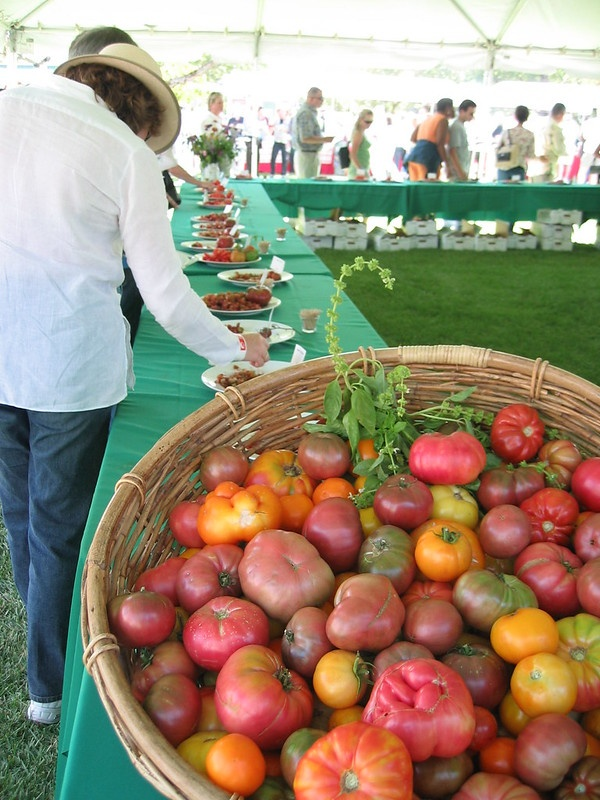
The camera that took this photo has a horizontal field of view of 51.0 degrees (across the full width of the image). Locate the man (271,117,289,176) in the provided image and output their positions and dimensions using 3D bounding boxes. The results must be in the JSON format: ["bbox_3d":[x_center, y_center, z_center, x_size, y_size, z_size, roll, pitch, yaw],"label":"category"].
[{"bbox_3d":[-0.405,-4.759,11.682,0.306,0.998,0.344,28,40,31],"label":"man"}]

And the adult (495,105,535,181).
[{"bbox_3d":[2.885,-3.420,8.454,0.484,0.934,0.485,7,25,11],"label":"adult"}]

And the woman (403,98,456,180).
[{"bbox_3d":[1.670,-3.302,8.060,0.344,0.951,0.607,-12,28,-26],"label":"woman"}]

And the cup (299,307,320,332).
[{"bbox_3d":[0.050,-0.282,2.206,0.090,0.083,0.078,3,12,9],"label":"cup"}]

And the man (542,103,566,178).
[{"bbox_3d":[3.541,-3.588,8.808,0.326,0.986,0.830,10,26,18],"label":"man"}]

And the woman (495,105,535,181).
[{"bbox_3d":[2.881,-3.420,8.454,0.486,0.934,0.484,7,25,12],"label":"woman"}]

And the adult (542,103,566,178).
[{"bbox_3d":[3.539,-3.584,8.798,0.325,0.986,0.790,9,25,16],"label":"adult"}]

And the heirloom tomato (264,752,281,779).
[{"bbox_3d":[-0.034,0.455,0.788,0.025,0.021,0.023,7,-14,0],"label":"heirloom tomato"}]

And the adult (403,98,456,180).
[{"bbox_3d":[1.666,-3.302,8.059,0.333,0.951,0.608,-13,28,-27],"label":"adult"}]

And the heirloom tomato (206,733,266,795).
[{"bbox_3d":[-0.086,0.411,0.728,0.074,0.069,0.061,-1,62,-13],"label":"heirloom tomato"}]
